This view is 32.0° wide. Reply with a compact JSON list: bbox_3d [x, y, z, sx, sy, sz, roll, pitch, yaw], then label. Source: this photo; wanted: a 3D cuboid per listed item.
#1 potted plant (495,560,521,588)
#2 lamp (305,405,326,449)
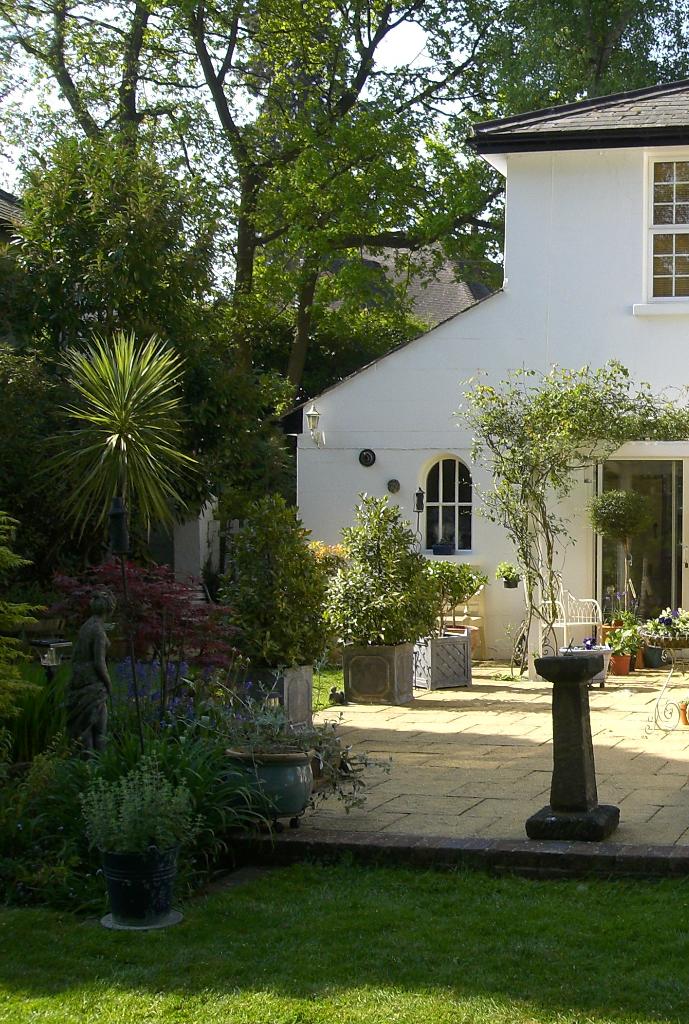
[{"bbox_3d":[1.910,0.703,13.896,0.290,0.284,0.306,1,-7,4],"label":"potted plant"},{"bbox_3d":[-0.368,-1.090,15.316,0.264,0.530,0.233,-2,-5,20],"label":"lamp"}]
